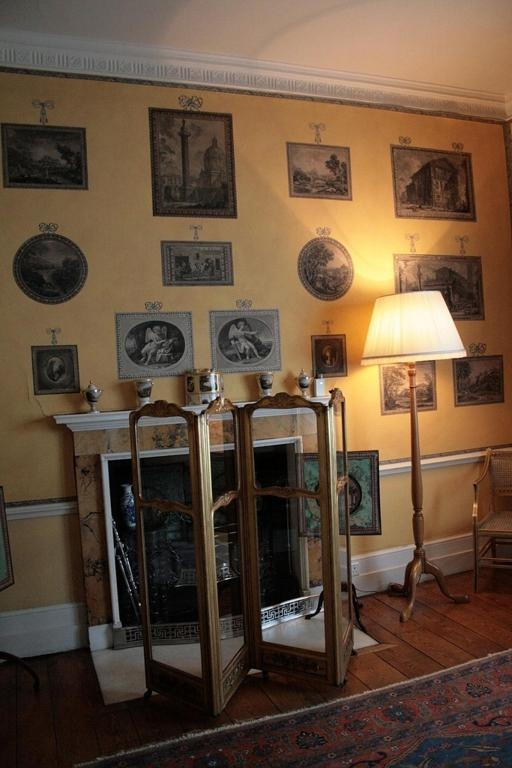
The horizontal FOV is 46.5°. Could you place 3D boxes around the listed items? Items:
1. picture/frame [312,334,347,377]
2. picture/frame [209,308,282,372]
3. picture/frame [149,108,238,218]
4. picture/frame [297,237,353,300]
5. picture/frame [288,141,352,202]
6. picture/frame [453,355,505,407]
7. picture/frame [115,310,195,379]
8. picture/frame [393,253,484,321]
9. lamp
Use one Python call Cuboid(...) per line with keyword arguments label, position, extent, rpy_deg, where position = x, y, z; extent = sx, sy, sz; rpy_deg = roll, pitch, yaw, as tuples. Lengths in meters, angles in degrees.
Cuboid(label="picture/frame", position=(0.410, -0.164, 3.436), extent=(0.250, 0.275, 0.018), rpy_deg=(-2, -1, -25))
Cuboid(label="picture/frame", position=(-0.081, -0.237, 3.261), extent=(0.352, 0.298, 0.026), rpy_deg=(-3, 4, -20))
Cuboid(label="picture/frame", position=(-0.359, -1.172, 3.179), extent=(0.645, 0.737, 0.038), rpy_deg=(0, -5, -26))
Cuboid(label="picture/frame", position=(0.382, -0.666, 3.450), extent=(0.388, 0.369, 0.024), rpy_deg=(2, -1, -30))
Cuboid(label="picture/frame", position=(0.348, -1.228, 3.442), extent=(0.394, 0.309, 0.015), rpy_deg=(-2, 5, -23))
Cuboid(label="picture/frame", position=(1.417, -0.016, 3.850), extent=(0.346, 0.286, 0.026), rpy_deg=(0, -4, -28))
Cuboid(label="picture/frame", position=(-0.544, -0.201, 3.090), extent=(0.355, 0.302, 0.026), rpy_deg=(-2, -1, -25))
Cuboid(label="picture/frame", position=(1.071, -0.584, 3.581), extent=(0.510, 0.357, 0.021), rpy_deg=(-2, 0, -17))
Cuboid(label="lamp", position=(0.859, 0.353, 3.275), extent=(0.520, 1.719, 0.519), rpy_deg=(-4, -1, -3))
